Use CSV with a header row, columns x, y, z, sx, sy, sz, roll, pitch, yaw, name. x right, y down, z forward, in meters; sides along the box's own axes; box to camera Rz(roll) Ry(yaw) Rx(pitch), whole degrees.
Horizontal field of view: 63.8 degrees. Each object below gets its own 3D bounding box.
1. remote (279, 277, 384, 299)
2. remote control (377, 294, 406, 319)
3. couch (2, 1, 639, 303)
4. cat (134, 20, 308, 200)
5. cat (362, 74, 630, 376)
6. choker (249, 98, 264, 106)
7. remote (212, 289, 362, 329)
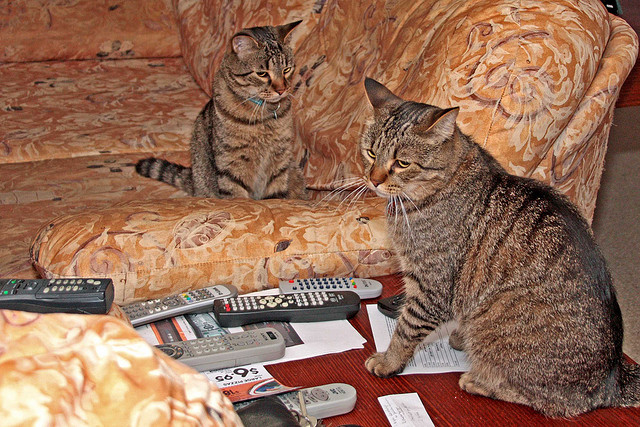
x,y,z,sx,sy,sz,roll,pitch,yaw,name
0.032,0.183,1.358,0.222,0.039,0.094,-1,16,-7,remote
0.179,0.237,1.323,0.065,0.019,0.047,-12,25,-24,remote control
-0.036,-0.205,1.685,0.860,0.620,1.478,-2,30,-16,couch
-0.401,-0.467,2.399,0.791,0.806,0.513,22,27,34,cat
0.397,0.017,1.255,0.577,0.519,0.622,0,33,3,cat
-0.267,-0.461,2.142,0.076,0.009,0.010,16,23,30,choker
-0.087,0.233,1.262,0.396,0.071,0.120,-4,27,-8,remote
